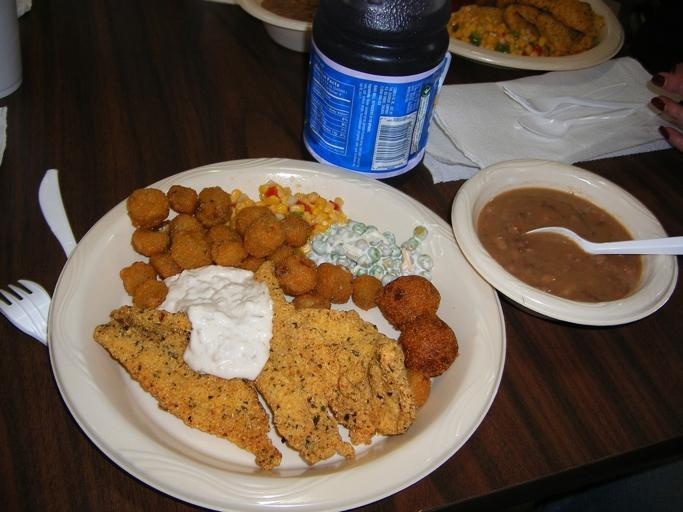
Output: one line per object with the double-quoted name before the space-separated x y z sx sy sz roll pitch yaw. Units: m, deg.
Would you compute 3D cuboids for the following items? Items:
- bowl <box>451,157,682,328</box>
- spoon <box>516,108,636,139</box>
"bowl" 0.873 -0.109 2.728 1.203 0.647 1.089 -4 24 0
"spoon" 1.182 -0.669 2.977 0.486 0.098 0.112 -8 86 -6
